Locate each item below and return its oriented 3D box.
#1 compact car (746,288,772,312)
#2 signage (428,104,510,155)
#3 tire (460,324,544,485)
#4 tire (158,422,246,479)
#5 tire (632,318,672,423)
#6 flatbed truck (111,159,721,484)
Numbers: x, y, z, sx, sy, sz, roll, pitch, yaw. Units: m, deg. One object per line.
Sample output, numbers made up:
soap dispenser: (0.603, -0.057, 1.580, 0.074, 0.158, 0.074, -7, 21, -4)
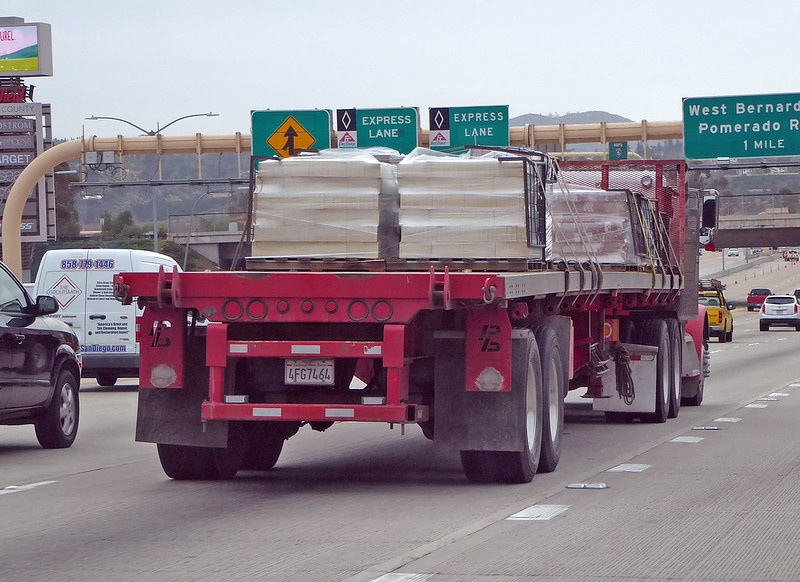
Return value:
compact car: (24.878, 0.632, 78.928, 1.635, 1.319, 3.284, 0, 6, 15)
signage: (2.403, -5.685, 39.601, 2.764, 1.539, 0.777, -3, 0, -3)
tire: (0.934, 1.053, 10.711, 0.454, 1.299, 1.367, 2, 16, 18)
tire: (-2.127, 1.612, 11.621, 0.221, 0.634, 0.688, -4, 1, 43)
tire: (3.746, 1.196, 17.064, 0.535, 1.520, 1.615, -1, -2, 19)
flatbed truck: (0.715, 0.174, 13.072, 3.982, 2.537, 6.495, 0, 0, 25)
